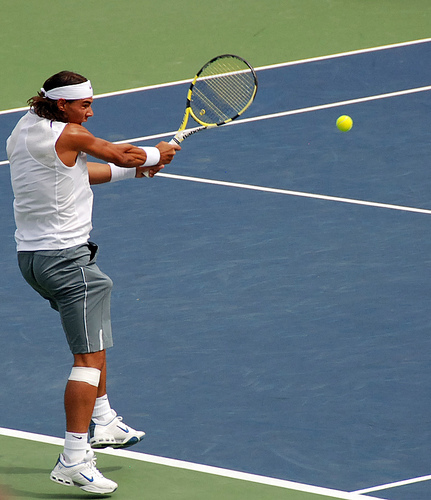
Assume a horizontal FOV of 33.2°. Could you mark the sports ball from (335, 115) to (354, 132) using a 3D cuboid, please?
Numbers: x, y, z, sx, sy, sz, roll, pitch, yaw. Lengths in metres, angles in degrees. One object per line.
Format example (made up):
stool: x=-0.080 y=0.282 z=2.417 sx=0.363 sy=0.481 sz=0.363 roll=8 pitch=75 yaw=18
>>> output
sports ball: x=1.170 y=-1.130 z=6.470 sx=0.183 sy=0.138 sz=0.154 roll=-6 pitch=28 yaw=-15

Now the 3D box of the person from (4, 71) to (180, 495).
person: x=-0.691 y=0.147 z=3.615 sx=0.760 sy=2.019 sz=0.709 roll=4 pitch=7 yaw=-3

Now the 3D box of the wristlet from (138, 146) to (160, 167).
wristlet: x=-0.346 y=-0.486 z=3.755 sx=0.096 sy=0.095 sz=0.091 roll=-3 pitch=16 yaw=-8

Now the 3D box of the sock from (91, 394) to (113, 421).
sock: x=-0.567 y=0.801 z=3.662 sx=0.100 sy=0.125 sz=0.068 roll=0 pitch=8 yaw=-27

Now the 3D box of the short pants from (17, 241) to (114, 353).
short pants: x=-0.732 y=0.224 z=3.516 sx=0.482 sy=0.525 sz=0.261 roll=3 pitch=7 yaw=-3

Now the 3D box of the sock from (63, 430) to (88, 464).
sock: x=-0.663 y=0.924 z=3.425 sx=0.112 sy=0.154 sz=0.100 roll=3 pitch=7 yaw=-8

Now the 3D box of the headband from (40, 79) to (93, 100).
headband: x=-0.698 y=-0.751 z=3.459 sx=0.190 sy=0.050 sz=0.121 roll=-4 pitch=4 yaw=6
